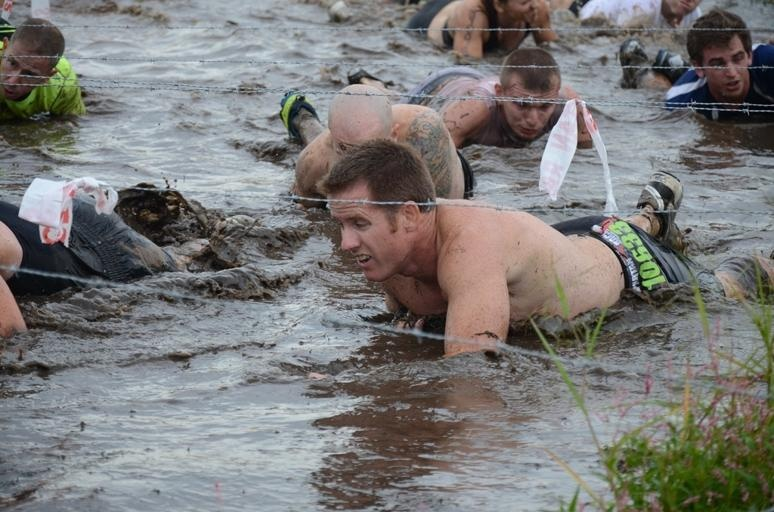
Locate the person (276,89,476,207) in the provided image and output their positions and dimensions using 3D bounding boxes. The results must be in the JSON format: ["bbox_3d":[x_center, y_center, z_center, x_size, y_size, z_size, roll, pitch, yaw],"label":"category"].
[{"bbox_3d":[-0.059,-0.962,7.910,1.380,0.603,1.549,-1,21,1],"label":"person"}]

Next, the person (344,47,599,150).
[{"bbox_3d":[0.824,-1.573,9.777,1.332,0.602,1.821,-5,18,-24],"label":"person"}]
